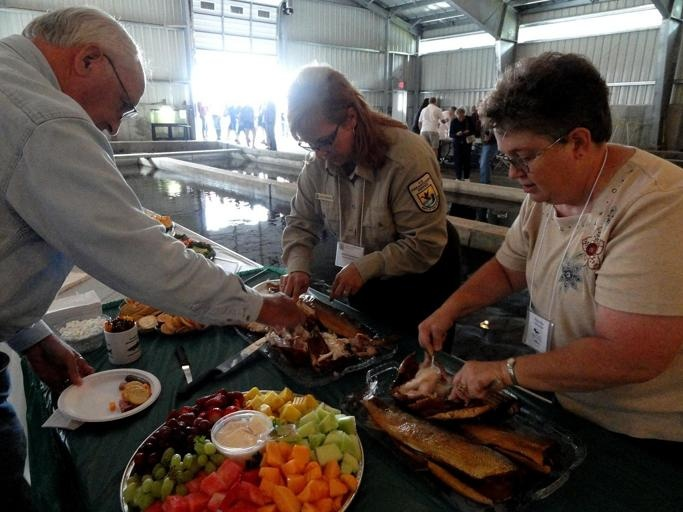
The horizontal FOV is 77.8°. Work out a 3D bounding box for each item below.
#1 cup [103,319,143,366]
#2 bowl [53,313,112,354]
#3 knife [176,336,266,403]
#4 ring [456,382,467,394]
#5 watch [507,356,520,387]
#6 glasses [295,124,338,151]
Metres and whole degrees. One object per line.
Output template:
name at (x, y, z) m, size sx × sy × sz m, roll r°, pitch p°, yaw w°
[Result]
cup at (-0.926, 0.354, 1.796) m, size 0.132 × 0.195 × 0.118 m, roll -5°, pitch 10°, yaw -5°
bowl at (-1.141, 0.312, 1.919) m, size 0.189 × 0.086 × 0.191 m, roll 1°, pitch 13°, yaw 0°
knife at (-0.449, 0.434, 1.729) m, size 0.102 × 0.031 × 0.537 m, roll 16°, pitch 15°, yaw 24°
ring at (0.406, 0.447, 1.433) m, size 0.025 × 0.012 × 0.033 m, roll -6°, pitch 47°, yaw 17°
watch at (0.533, 0.372, 1.353) m, size 0.046 × 0.077 × 0.076 m, roll -3°, pitch 60°, yaw 18°
glasses at (-0.110, -0.553, 2.060) m, size 0.127 × 0.040 × 0.135 m, roll 5°, pitch 47°, yaw 46°
